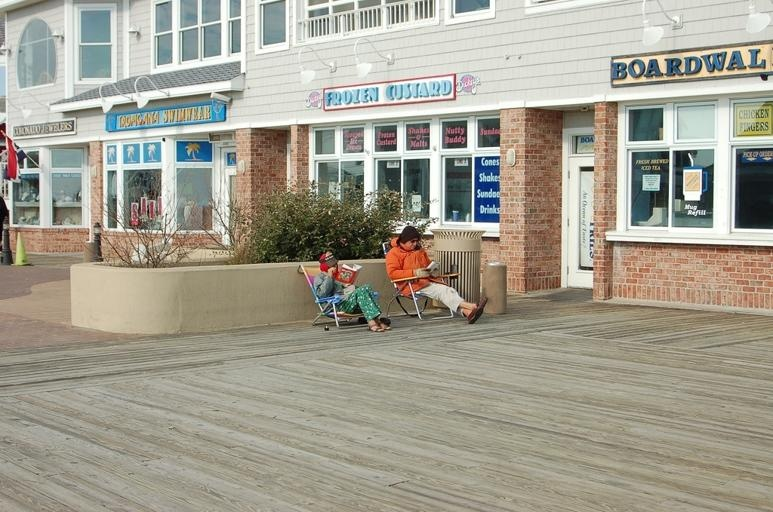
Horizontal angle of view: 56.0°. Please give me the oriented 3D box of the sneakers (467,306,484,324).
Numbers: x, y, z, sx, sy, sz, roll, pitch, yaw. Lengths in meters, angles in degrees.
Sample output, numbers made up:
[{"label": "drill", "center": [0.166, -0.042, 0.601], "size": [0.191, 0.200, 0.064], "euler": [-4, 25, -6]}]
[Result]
[{"label": "sneakers", "center": [1.513, 0.993, 12.396], "size": [0.267, 0.331, 0.260], "euler": [-1, 2, -1]}]

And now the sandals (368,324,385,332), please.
[{"label": "sandals", "center": [-0.158, 1.161, 11.698], "size": [0.100, 0.068, 0.251], "euler": [-5, 3, -39]}]

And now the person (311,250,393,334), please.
[{"label": "person", "center": [-0.544, 0.551, 12.024], "size": [1.574, 1.293, 0.738], "euler": [1, 10, 42]}]

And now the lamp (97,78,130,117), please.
[{"label": "lamp", "center": [-9.654, -5.759, 25.644], "size": [0.937, 1.243, 2.709], "euler": [-2, 2, -25]}]

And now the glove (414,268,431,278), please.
[{"label": "glove", "center": [0.613, 0.317, 12.469], "size": [0.187, 0.145, 0.192], "euler": [1, -5, 22]}]

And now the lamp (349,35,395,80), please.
[{"label": "lamp", "center": [-0.469, -5.185, 18.867], "size": [1.463, 1.250, 0.672], "euler": [-12, 4, -35]}]

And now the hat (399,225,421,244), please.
[{"label": "hat", "center": [0.413, -0.379, 12.731], "size": [0.328, 0.267, 0.248], "euler": [1, 5, 18]}]

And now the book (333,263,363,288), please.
[{"label": "book", "center": [-0.652, 0.293, 12.328], "size": [0.378, 0.526, 0.369], "euler": [9, 23, -22]}]

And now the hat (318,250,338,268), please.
[{"label": "hat", "center": [-0.993, 0.074, 12.090], "size": [0.242, 0.181, 0.332], "euler": [-27, 5, -36]}]

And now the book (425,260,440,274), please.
[{"label": "book", "center": [0.787, 0.216, 12.544], "size": [0.220, 0.060, 0.215], "euler": [-27, -18, -39]}]

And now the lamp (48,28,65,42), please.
[{"label": "lamp", "center": [-12.664, -8.511, 27.974], "size": [0.446, 0.597, 0.613], "euler": [1, -1, 40]}]

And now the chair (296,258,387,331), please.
[{"label": "chair", "center": [-0.617, 0.595, 12.308], "size": [1.659, 1.045, 0.843], "euler": [3, 4, 41]}]
